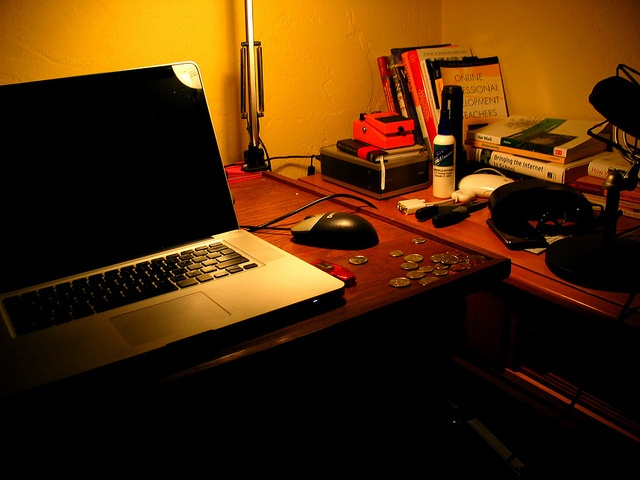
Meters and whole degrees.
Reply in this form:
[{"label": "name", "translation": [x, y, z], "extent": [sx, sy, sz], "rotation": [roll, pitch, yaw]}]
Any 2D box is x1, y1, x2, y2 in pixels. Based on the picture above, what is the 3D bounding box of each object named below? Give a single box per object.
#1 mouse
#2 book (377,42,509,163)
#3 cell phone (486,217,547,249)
[{"label": "mouse", "translation": [0.012, -0.042, 0.920], "extent": [0.183, 0.061, 0.185], "rotation": [-4, 17, -5]}, {"label": "book", "translation": [0.349, -0.404, 1.539], "extent": [0.394, 0.385, 0.263], "rotation": [-13, 24, -26]}, {"label": "cell phone", "translation": [0.404, -0.020, 0.976], "extent": [0.113, 0.042, 0.096], "rotation": [-7, 20, -28]}]
